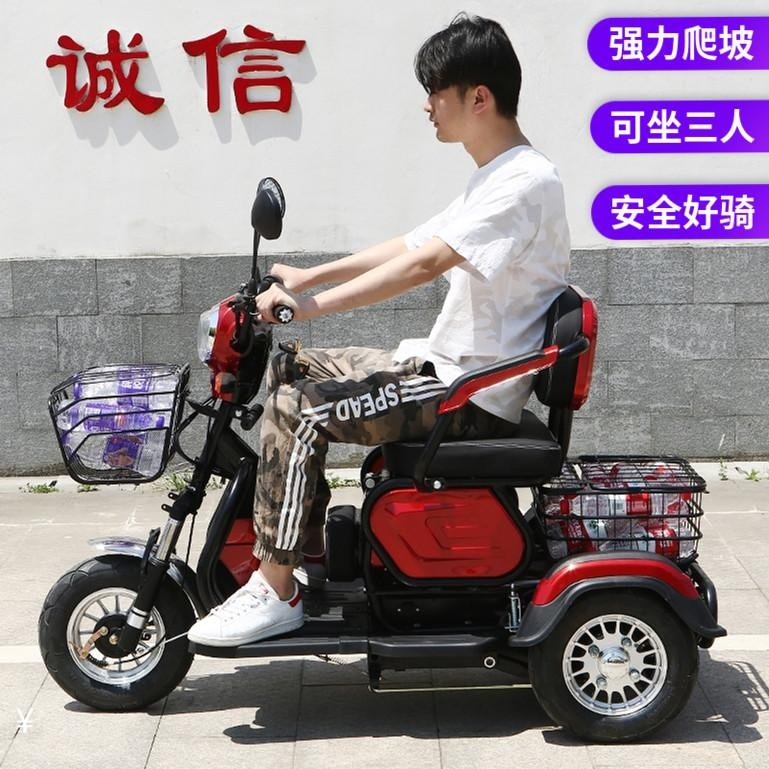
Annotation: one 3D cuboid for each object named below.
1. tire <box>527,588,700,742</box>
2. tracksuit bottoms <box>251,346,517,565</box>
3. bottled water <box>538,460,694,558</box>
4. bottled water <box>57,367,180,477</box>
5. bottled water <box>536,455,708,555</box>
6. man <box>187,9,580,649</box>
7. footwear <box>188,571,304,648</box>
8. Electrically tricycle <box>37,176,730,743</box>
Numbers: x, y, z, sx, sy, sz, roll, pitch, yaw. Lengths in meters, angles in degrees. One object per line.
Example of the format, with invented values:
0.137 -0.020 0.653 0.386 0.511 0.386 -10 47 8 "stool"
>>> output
0.657 0.795 2.644 0.587 0.461 0.188 1 -1 2 "tire"
-0.057 0.246 2.899 0.728 0.674 0.425 -2 9 -8 "tracksuit bottoms"
0.729 0.338 2.859 0.500 0.222 0.332 13 -20 -21 "bottled water"
-0.802 0.088 2.773 0.451 0.251 0.321 -1 24 -13 "bottled water"
0.729 0.370 2.881 0.495 0.226 0.309 -1 5 0 "bottled water"
-0.106 -0.201 2.942 1.312 1.754 0.969 -5 19 -25 "man"
-0.397 0.671 2.771 0.403 0.176 0.138 -6 7 -17 "footwear"
-0.042 0.341 2.938 2.098 1.207 0.791 -1 -1 -1 "Electrically tricycle"
